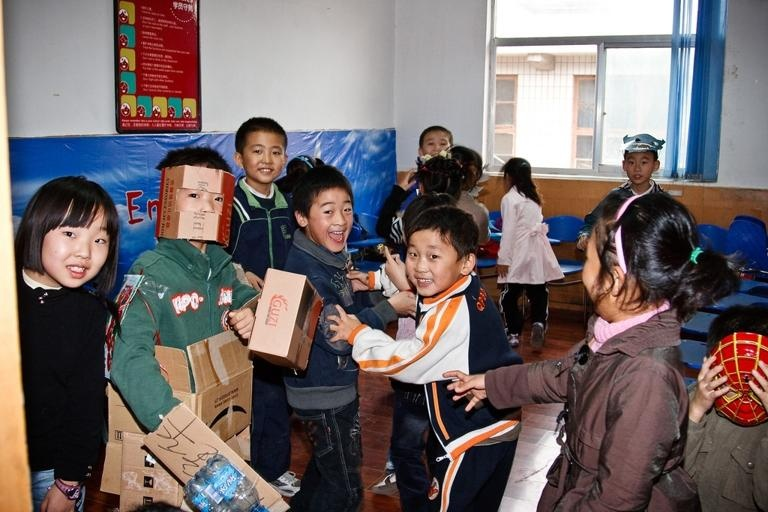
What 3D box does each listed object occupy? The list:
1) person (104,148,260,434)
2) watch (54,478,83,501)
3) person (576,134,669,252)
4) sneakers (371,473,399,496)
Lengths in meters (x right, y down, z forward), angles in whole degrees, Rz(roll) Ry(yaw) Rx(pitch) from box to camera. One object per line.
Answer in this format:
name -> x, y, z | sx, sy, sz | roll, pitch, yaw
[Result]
person -> -0.757, 0.074, 2.027 | 0.494, 1.036, 0.804 | -3, 6, -5
watch -> -1.008, 0.754, 1.706 | 0.088, 0.044, 0.087 | 20, 3, -38
person -> 2.003, -0.433, 4.279 | 0.778, 1.010, 0.606 | 2, 6, 30
sneakers -> -0.035, 1.239, 2.866 | 0.254, 0.100, 0.085 | -4, -23, -2
